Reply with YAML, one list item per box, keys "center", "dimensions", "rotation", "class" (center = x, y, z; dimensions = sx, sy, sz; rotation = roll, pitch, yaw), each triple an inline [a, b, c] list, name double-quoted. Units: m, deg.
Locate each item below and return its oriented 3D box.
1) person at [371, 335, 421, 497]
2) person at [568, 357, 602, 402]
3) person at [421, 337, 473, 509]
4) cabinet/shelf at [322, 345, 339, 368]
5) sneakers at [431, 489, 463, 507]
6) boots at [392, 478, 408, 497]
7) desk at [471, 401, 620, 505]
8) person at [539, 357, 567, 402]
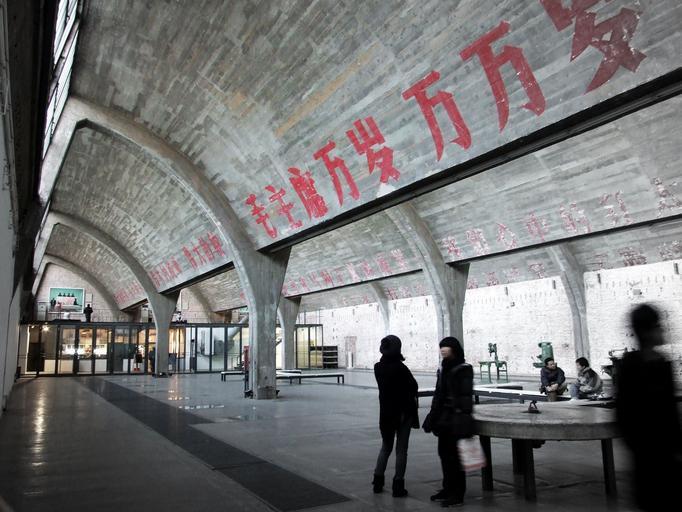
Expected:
- center: [0.803, 2.381, 5.682]
  dimensions: [0.746, 2.302, 0.471]
  rotation: [-6, -14, 18]
  class: "person"
- center: [7.349, 3.859, 11.345]
  dimensions: [0.833, 1.377, 0.824]
  rotation: [6, -4, -44]
  class: "person"
- center: [1.509, 2.253, 5.217]
  dimensions: [0.703, 2.168, 0.328]
  rotation: [-6, -14, 15]
  class: "person"
- center: [-1.280, 12.013, 44.650]
  dimensions: [1.904, 2.531, 1.013]
  rotation: [-1, -13, -4]
  class: "cabinet/shelf"
- center: [1.420, 3.273, 5.034]
  dimensions: [0.385, 0.142, 0.217]
  rotation: [4, -9, 6]
  class: "sneakers"
- center: [0.849, 3.371, 5.469]
  dimensions: [0.221, 0.240, 0.184]
  rotation: [-3, -13, 6]
  class: "boots"
- center: [2.790, 2.525, 5.265]
  dimensions: [2.071, 1.007, 2.002]
  rotation: [3, -16, -15]
  class: "desk"
- center: [6.611, 3.922, 11.821]
  dimensions: [0.780, 1.187, 1.028]
  rotation: [-3, 11, 44]
  class: "person"
